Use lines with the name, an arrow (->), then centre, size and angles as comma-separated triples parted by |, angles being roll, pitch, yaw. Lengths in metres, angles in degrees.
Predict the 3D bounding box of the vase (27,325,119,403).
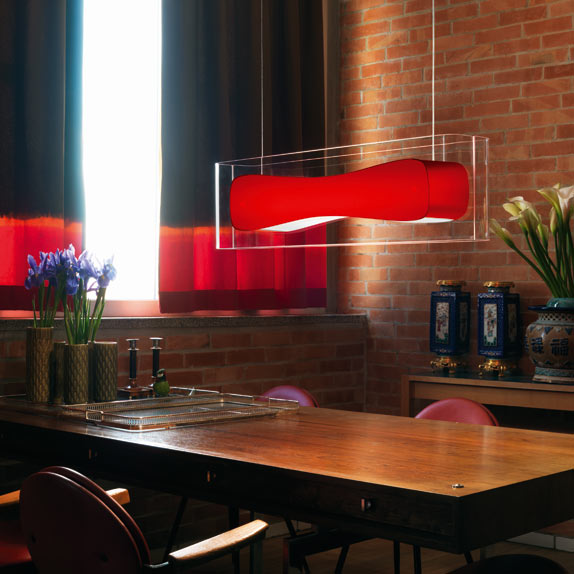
vase -> -0.707, 0.305, 2.062 | 0.368, 0.286, 0.198 | -1, -5, 12

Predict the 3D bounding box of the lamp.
lamp -> 0.133, -0.228, 1.427 | 0.735, 0.348, 0.259 | 0, -2, 45
